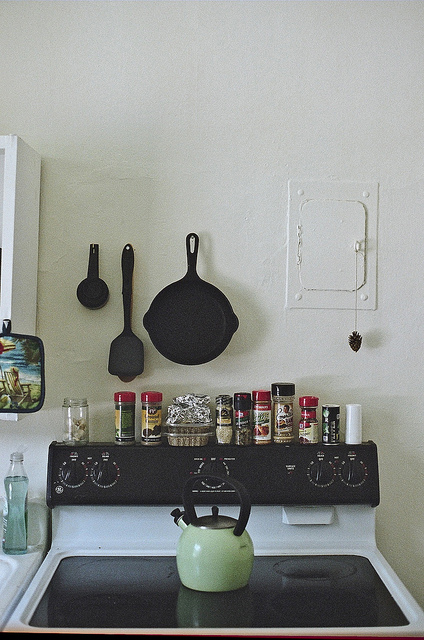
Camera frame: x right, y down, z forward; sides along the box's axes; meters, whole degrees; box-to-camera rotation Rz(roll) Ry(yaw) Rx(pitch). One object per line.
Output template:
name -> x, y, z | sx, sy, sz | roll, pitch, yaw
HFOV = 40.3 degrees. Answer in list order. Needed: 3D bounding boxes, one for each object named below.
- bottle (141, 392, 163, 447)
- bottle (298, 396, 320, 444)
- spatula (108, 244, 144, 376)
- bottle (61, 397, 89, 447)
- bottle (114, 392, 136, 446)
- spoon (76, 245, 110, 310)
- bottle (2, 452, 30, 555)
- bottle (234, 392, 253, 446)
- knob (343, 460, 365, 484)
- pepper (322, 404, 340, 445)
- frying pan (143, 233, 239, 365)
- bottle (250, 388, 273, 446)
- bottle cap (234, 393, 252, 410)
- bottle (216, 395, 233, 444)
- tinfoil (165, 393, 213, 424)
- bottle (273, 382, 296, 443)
bottle -> -0.156, 0.251, 1.473 | 0.051, 0.133, 0.048 | 1, -1, 0
bottle -> 0.256, 0.259, 1.528 | 0.047, 0.121, 0.102 | 1, -1, 10
spatula -> -0.228, -0.029, 1.545 | 0.089, 0.352, 0.054 | 1, -1, -8
bottle -> -0.345, 0.260, 1.465 | 0.058, 0.115, 0.047 | 1, -1, -22
bottle -> -0.227, 0.251, 1.503 | 0.052, 0.134, 0.087 | 1, -1, -10
spoon -> -0.328, -0.119, 1.588 | 0.084, 0.219, 0.031 | 2, -34, -11
bottle -> -0.469, 0.433, 1.384 | 0.058, 0.232, 0.084 | 1, -1, -20
bottle -> 0.082, 0.255, 1.507 | 0.049, 0.128, 0.069 | 1, -1, 3
knob -> 0.358, 0.379, 1.461 | 0.041, 0.060, 0.012 | 6, -8, -1
pepper -> 0.312, 0.272, 1.522 | 0.051, 0.103, 0.054 | -2, -1, 13
frying pan -> -0.055, -0.058, 1.536 | 0.246, 0.350, 0.052 | 1, -1, -1
bottle -> 0.131, 0.252, 1.533 | 0.061, 0.136, 0.097 | 1, -1, 6
bottle cap -> 0.081, 0.210, 1.487 | 0.037, 0.040, 0.039 | 0, -8, 0
bottle -> 0.031, 0.258, 1.495 | 0.038, 0.121, 0.024 | 1, -1, 0
tinfoil -> -0.059, 0.228, 1.514 | 0.115, 0.071, 0.102 | 1, -1, -1
bottle -> 0.187, 0.244, 1.514 | 0.055, 0.153, 0.040 | 1, -1, 3
